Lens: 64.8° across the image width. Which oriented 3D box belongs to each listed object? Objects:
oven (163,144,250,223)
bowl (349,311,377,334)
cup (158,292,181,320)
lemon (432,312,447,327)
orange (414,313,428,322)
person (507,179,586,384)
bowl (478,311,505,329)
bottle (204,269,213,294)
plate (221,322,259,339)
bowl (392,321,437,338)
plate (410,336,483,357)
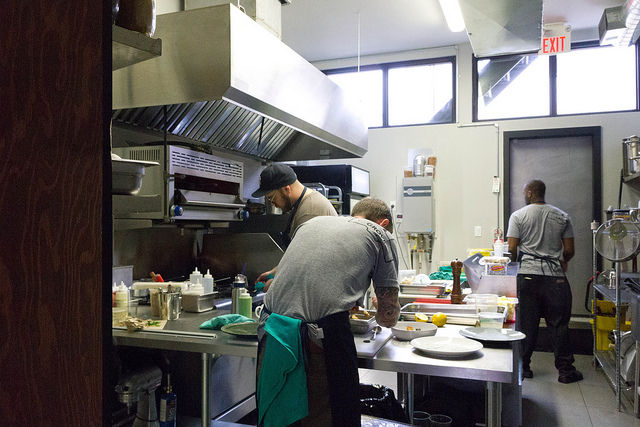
[{"bbox_3d":[-0.852,-0.166,3.318,0.447,0.433,0.915,1,-1,18],"label":"oven"},{"bbox_3d":[0.217,0.557,2.568,0.164,0.062,0.269,-2,-4,14],"label":"bowl"},{"bbox_3d":[-0.846,0.527,2.889,0.109,0.159,0.168,1,-1,-43],"label":"cup"},{"bbox_3d":[0.639,0.572,2.715,0.065,0.051,0.039,2,-1,2],"label":"lemon"},{"bbox_3d":[0.540,0.555,2.716,0.044,0.026,0.042,11,10,-20],"label":"orange"},{"bbox_3d":[2.100,0.730,4.735,0.659,1.651,0.409,2,-1,23],"label":"person"},{"bbox_3d":[0.886,0.547,2.608,0.086,0.039,0.084,-1,2,0],"label":"bowl"},{"bbox_3d":[-0.708,0.430,3.196,0.054,0.131,0.122,2,-1,-11],"label":"bottle"},{"bbox_3d":[-0.411,0.594,2.561,0.180,0.065,0.237,2,-1,-7],"label":"plate"},{"bbox_3d":[0.468,0.582,2.535,0.137,0.039,0.136,-2,-2,0],"label":"bowl"},{"bbox_3d":[0.586,0.612,2.324,0.276,0.053,0.274,3,-1,-35],"label":"plate"}]
